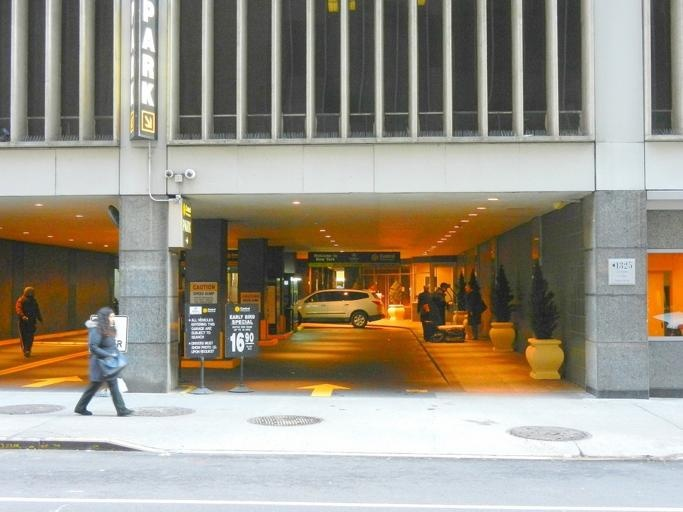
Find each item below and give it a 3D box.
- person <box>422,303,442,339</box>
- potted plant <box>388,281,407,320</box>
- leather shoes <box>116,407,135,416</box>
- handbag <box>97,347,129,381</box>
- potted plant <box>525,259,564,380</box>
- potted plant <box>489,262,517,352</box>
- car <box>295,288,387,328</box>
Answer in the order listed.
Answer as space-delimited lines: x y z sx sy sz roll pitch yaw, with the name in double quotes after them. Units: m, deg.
2.925 2.222 32.829 0.600 1.190 0.462 -3 -4 23 "person"
2.874 2.313 51.119 1.007 1.963 1.984 -1 -4 4 "potted plant"
-4.336 3.147 19.924 0.374 0.260 0.126 -1 2 -13 "leather shoes"
-4.545 2.182 19.661 0.472 0.506 0.206 -2 8 -43 "handbag"
4.955 1.614 24.200 0.883 2.791 0.987 -2 -4 7 "potted plant"
4.818 1.589 29.575 0.759 2.458 0.726 -1 -4 5 "potted plant"
-0.024 2.269 42.191 3.488 1.251 1.617 2 -3 4 "car"
